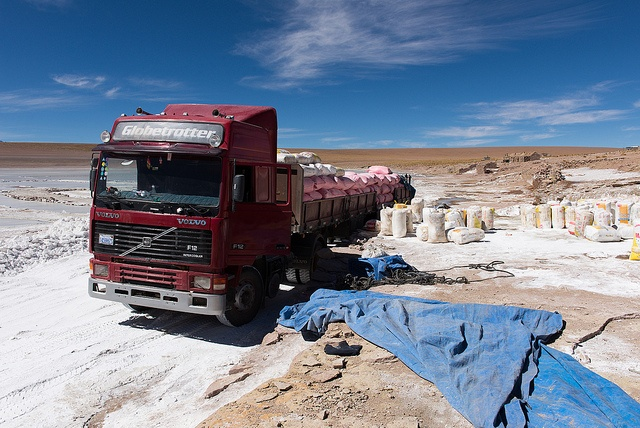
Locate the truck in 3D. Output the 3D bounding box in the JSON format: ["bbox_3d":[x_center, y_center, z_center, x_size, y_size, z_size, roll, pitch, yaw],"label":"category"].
[{"bbox_3d":[-2.437,-0.147,10.386,4.021,2.854,9.949,1,3,23],"label":"truck"}]

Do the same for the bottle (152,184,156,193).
[{"bbox_3d":[-3.388,-0.508,8.172,0.077,0.164,0.079,-6,14,2],"label":"bottle"}]
